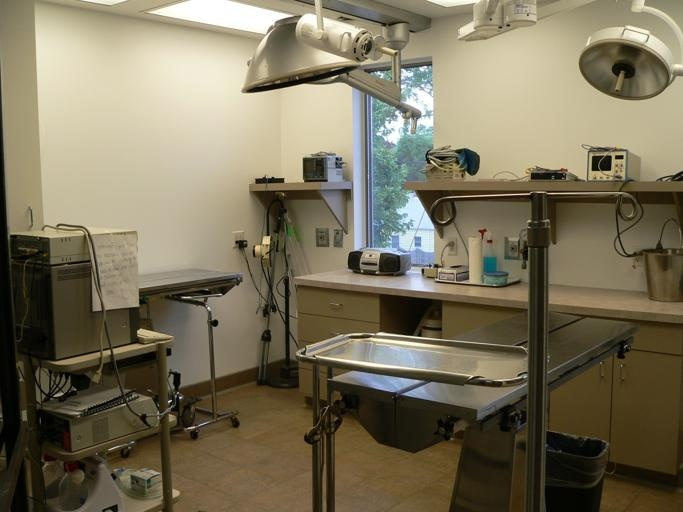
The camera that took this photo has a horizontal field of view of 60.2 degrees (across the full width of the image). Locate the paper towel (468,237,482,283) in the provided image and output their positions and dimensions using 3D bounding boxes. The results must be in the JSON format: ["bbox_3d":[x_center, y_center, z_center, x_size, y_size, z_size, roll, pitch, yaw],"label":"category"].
[{"bbox_3d":[0.937,0.029,4.139,0.089,0.311,0.168,1,9,11],"label":"paper towel"}]

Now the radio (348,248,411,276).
[{"bbox_3d":[0.273,0.048,4.589,0.487,0.200,0.198,1,9,13],"label":"radio"}]

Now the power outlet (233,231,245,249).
[{"bbox_3d":[-0.896,-0.135,4.994,0.065,0.145,0.131,1,3,36],"label":"power outlet"}]

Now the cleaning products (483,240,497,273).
[{"bbox_3d":[1.068,-0.004,4.247,0.099,0.227,0.285,1,9,14],"label":"cleaning products"}]
